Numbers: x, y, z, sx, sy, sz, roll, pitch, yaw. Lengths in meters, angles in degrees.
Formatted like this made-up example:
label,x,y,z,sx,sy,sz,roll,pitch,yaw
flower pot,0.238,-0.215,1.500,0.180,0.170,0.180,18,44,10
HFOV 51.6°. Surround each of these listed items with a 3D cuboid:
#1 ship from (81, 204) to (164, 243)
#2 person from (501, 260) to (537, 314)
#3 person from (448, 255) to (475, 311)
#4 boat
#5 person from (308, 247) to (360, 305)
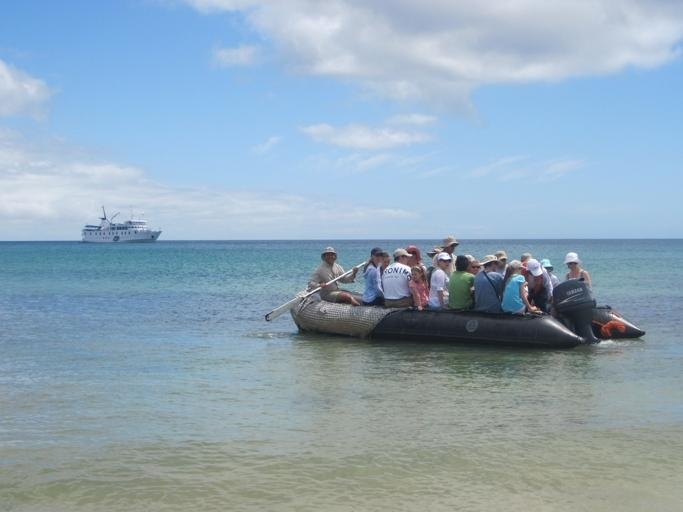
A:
label,x,y,z,sx,sy,sz,roll,pitch,yaw
ship,-54.123,-6.406,175.698,18.734,6.209,10.747,0,0,32
person,4.217,0.719,16.614,0.793,1.193,1.114,0,1,11
person,2.904,0.636,16.731,0.602,1.252,0.412,-1,1,6
boat,2.347,1.638,18.306,7.809,0.838,3.412,3,-2,18
person,-0.135,0.674,19.100,1.824,1.409,1.136,-5,10,-15
